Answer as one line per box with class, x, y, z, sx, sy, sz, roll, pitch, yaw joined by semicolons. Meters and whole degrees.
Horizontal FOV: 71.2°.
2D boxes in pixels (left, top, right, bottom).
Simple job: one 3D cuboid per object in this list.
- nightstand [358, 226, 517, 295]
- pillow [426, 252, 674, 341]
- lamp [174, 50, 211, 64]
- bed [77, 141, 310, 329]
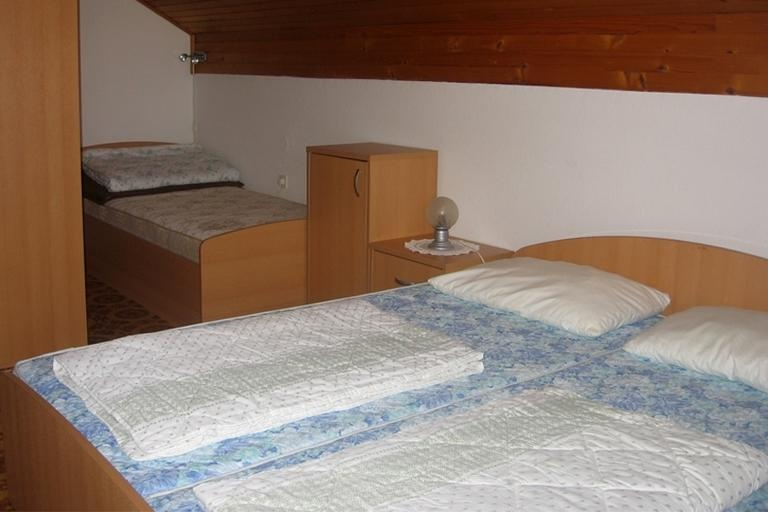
nightstand;0.316;-0.066;3.314;0.450;0.469;0.570;-13;21;-37
pillow;0.740;0.169;2.609;0.694;0.118;0.496;15;22;42
lamp;-1.991;-2.076;5.632;0.373;0.116;0.081;8;18;27
bed;-1.730;-0.190;4.636;1.143;0.860;2.010;-11;19;-36
